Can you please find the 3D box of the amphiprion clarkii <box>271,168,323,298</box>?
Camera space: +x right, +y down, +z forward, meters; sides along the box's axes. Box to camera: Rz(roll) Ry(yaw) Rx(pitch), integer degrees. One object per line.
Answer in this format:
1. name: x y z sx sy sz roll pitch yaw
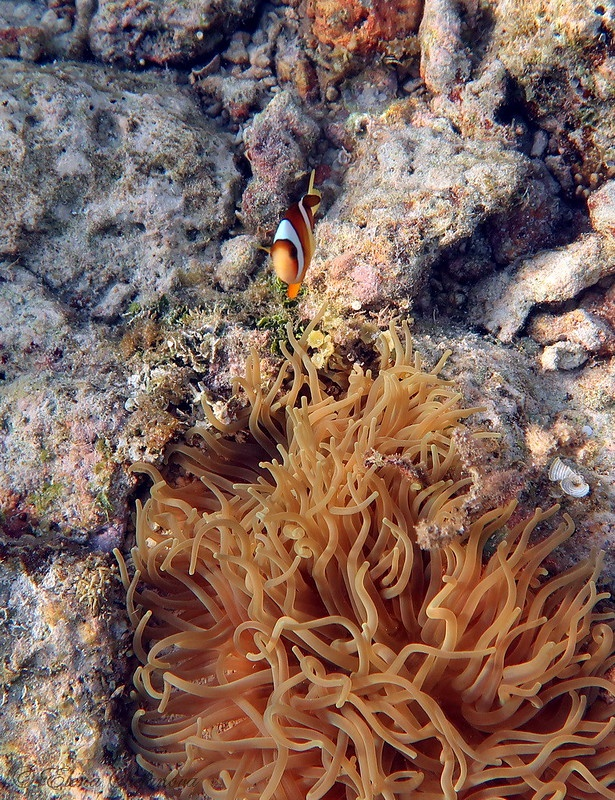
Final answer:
1. amphiprion clarkii: -0.035 -0.783 4.139 0.129 0.335 0.746 6 51 4
